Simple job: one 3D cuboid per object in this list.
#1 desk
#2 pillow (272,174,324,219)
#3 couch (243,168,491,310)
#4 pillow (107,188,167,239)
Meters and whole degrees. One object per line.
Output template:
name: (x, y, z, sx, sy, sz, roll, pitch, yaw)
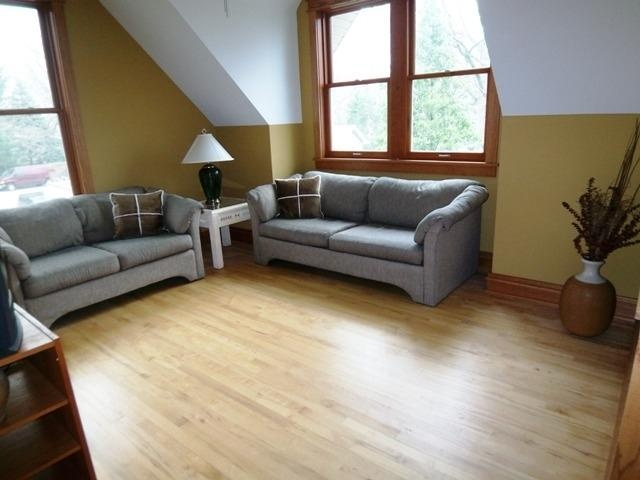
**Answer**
desk: (-1.157, -0.057, 4.795, 0.706, 0.558, 0.729, -9, 10, 7)
pillow: (-0.225, -0.428, 4.492, 0.415, 0.407, 0.156, -3, -3, 3)
couch: (0.449, -0.085, 4.118, 1.997, 0.870, 0.860, 7, 23, 31)
pillow: (-1.731, -0.234, 4.120, 0.417, 0.419, 0.147, -4, -11, -28)
